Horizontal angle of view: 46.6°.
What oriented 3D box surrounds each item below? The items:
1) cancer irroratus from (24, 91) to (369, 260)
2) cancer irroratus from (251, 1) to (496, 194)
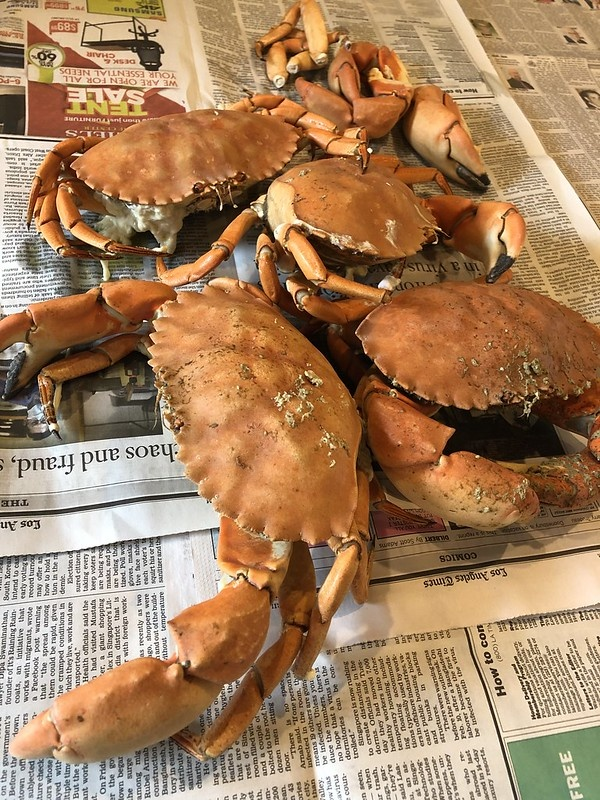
[{"bbox_3d":[-0.221,-0.329,1.191,0.317,0.104,0.481,-1,5,28],"label":"cancer irroratus"},{"bbox_3d":[0.080,-0.570,1.463,0.536,0.114,0.309,42,42,2],"label":"cancer irroratus"}]
